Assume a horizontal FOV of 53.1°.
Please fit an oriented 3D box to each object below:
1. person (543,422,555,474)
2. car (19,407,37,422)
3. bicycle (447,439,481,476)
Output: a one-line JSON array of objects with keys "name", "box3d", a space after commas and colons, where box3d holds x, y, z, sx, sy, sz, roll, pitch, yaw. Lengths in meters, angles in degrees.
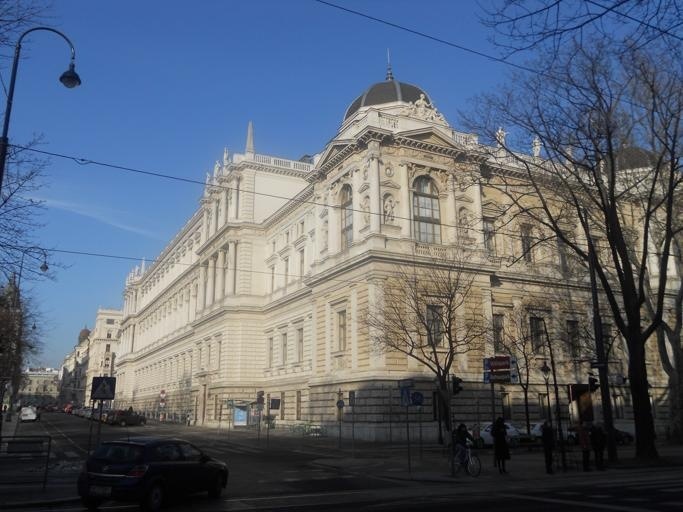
[{"name": "person", "box3d": [9.025, 8.253, 29.678, 0.473, 2.237, 1.302, -7, -22, 15]}, {"name": "car", "box3d": [-34.635, 17.612, 75.891, 1.514, 1.350, 2.566, 3, -4, -22]}, {"name": "bicycle", "box3d": [5.173, 8.509, 29.009, 1.006, 1.316, 2.281, -27, -41, 37]}]
